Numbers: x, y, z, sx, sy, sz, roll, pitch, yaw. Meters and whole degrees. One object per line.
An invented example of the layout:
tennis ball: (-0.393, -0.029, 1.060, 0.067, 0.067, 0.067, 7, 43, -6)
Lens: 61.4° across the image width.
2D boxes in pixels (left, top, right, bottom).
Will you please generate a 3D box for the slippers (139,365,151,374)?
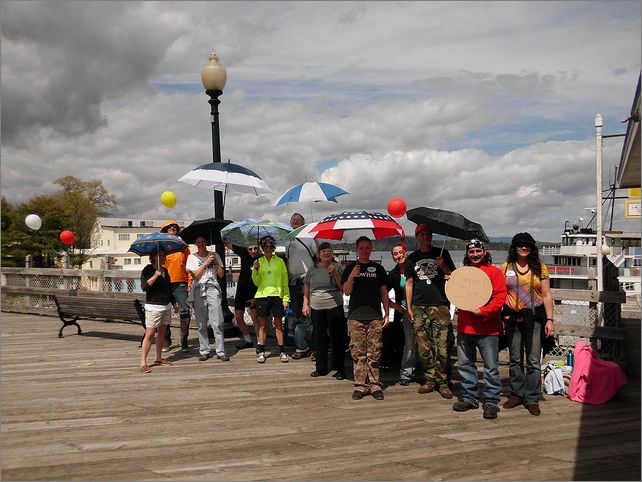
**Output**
slippers: (-3.137, 2.291, 9.680, 0.161, 0.113, 0.266, -3, 9, -19)

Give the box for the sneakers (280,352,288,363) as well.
sneakers: (-0.715, 2.222, 10.267, 0.134, 0.111, 0.265, 1, -12, -11)

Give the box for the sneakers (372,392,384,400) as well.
sneakers: (0.880, 2.397, 8.354, 0.173, 0.103, 0.148, 0, 9, 3)

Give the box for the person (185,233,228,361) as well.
person: (-2.183, 1.131, 10.492, 0.710, 2.419, 0.921, -5, 9, -25)

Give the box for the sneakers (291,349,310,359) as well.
sneakers: (-0.396, 2.234, 10.587, 0.368, 0.168, 0.132, 6, -8, -39)

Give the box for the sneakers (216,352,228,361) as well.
sneakers: (-1.871, 2.222, 10.350, 0.281, 0.116, 0.102, 2, 4, 45)

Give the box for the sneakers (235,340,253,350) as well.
sneakers: (-1.587, 2.201, 11.298, 0.384, 0.167, 0.128, 5, -12, -38)

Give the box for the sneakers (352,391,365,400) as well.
sneakers: (0.569, 2.391, 8.323, 0.179, 0.116, 0.134, 0, 9, 0)

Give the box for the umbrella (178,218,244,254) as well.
umbrella: (-2.152, -0.180, 10.669, 0.849, 0.494, 0.826, 1, -19, -43)

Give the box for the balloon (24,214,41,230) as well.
balloon: (-9.906, -0.615, 18.606, 0.451, 0.565, 1.112, -5, 10, -28)

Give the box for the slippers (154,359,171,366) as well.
slippers: (-2.958, 2.282, 10.117, 0.271, 0.111, 0.129, 1, -2, 0)

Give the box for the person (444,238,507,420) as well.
person: (2.336, 1.260, 7.909, 0.675, 2.489, 0.778, 2, 9, 19)

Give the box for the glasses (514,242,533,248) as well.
glasses: (2.987, 0.070, 7.984, 0.259, 0.075, 0.056, 2, 9, 17)

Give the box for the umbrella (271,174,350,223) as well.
umbrella: (-0.201, -0.815, 10.359, 1.239, 1.118, 1.268, -15, 15, 5)

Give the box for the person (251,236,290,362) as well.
person: (-0.949, 1.117, 10.231, 0.683, 2.382, 0.554, -1, 8, -5)

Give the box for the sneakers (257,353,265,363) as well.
sneakers: (-1.126, 2.214, 10.199, 0.112, 0.134, 0.296, 0, -12, -1)

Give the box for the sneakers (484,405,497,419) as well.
sneakers: (2.438, 2.460, 7.768, 0.197, 0.162, 0.239, 2, 9, 18)

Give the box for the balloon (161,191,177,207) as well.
balloon: (-3.802, -1.029, 13.591, 0.281, 0.422, 1.131, -3, 9, -18)

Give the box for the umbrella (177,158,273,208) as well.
umbrella: (-1.854, -1.230, 10.644, 1.325, 0.639, 1.065, 3, 9, 21)

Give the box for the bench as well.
bench: (-4.923, 1.680, 11.977, 0.540, 0.702, 1.886, 9, -2, 43)

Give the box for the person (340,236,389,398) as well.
person: (0.717, 1.191, 8.558, 0.697, 2.426, 0.884, 0, 8, 4)

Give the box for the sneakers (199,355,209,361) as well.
sneakers: (-2.243, 2.240, 10.349, 0.179, 0.110, 0.159, -2, 9, -11)

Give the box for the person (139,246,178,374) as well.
person: (-3.012, 1.238, 9.820, 0.375, 2.243, 0.800, 3, 9, 24)

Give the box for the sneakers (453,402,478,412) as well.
sneakers: (2.133, 2.429, 7.968, 0.375, 0.167, 0.139, 4, -7, -8)

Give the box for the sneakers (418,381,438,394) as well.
sneakers: (1.678, 2.361, 8.637, 0.373, 0.161, 0.121, 15, -12, -39)
